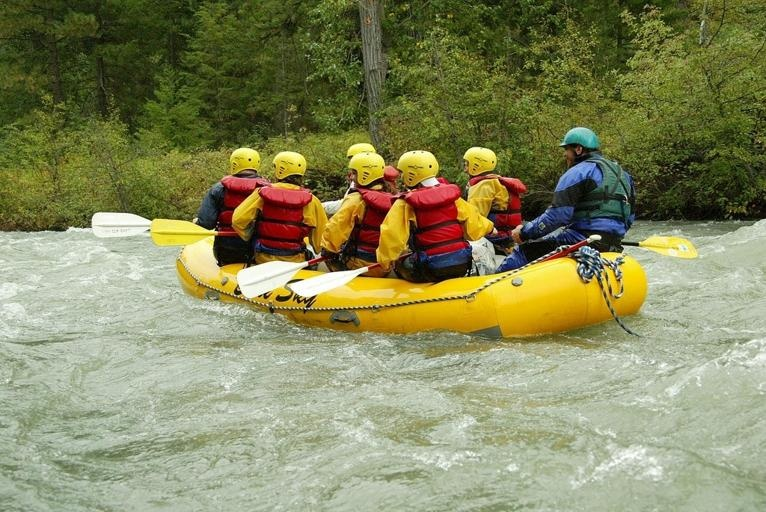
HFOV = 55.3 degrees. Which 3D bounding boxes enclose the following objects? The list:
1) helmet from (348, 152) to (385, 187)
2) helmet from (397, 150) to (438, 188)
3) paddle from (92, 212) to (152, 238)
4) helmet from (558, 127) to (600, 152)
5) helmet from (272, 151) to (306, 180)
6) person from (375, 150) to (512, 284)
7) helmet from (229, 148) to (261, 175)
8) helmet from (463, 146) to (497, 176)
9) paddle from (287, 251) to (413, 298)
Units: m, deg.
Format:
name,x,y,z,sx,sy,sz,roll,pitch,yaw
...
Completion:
name,x,y,z,sx,sy,sz,roll,pitch,yaw
helmet,-0.172,-1.063,8.985,0.552,0.341,0.365,6,8,11
helmet,0.365,-1.028,8.610,0.570,0.326,0.390,6,9,22
paddle,-3.517,-0.430,10.106,0.767,0.331,0.631,-4,6,-6
helmet,2.441,-1.433,9.059,0.516,0.209,0.333,5,4,12
helmet,-1.246,-1.192,9.626,0.492,0.293,0.348,13,12,25
person,0.540,-0.434,8.415,1.235,1.523,0.422,-4,8,6
helmet,-1.864,-1.306,10.204,0.415,0.355,0.464,-3,16,-31
helmet,1.375,-1.274,10.054,0.525,0.305,0.363,11,11,22
paddle,-0.420,0.189,8.604,1.459,0.057,0.331,-17,33,5
